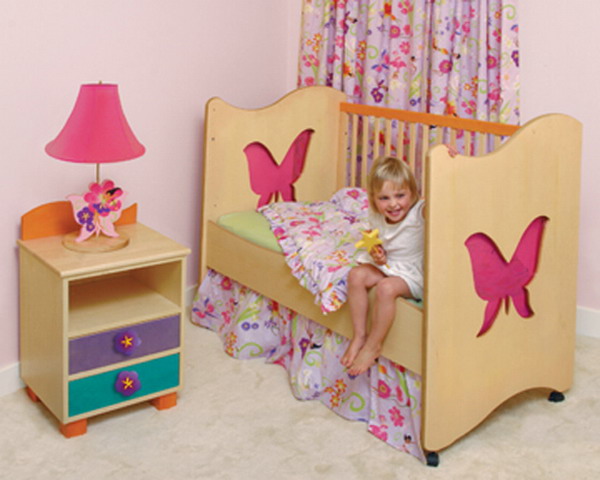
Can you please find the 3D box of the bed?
[{"bbox_3d":[0.533,0.161,2.708,1.570,1.201,1.541,-5,16,-40],"label":"bed"}]

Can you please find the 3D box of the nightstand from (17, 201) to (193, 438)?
[{"bbox_3d":[-0.755,0.266,2.271,0.432,0.756,0.547,17,18,34],"label":"nightstand"}]

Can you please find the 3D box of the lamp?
[{"bbox_3d":[-0.758,-0.282,2.187,0.288,0.578,0.373,10,26,20],"label":"lamp"}]
